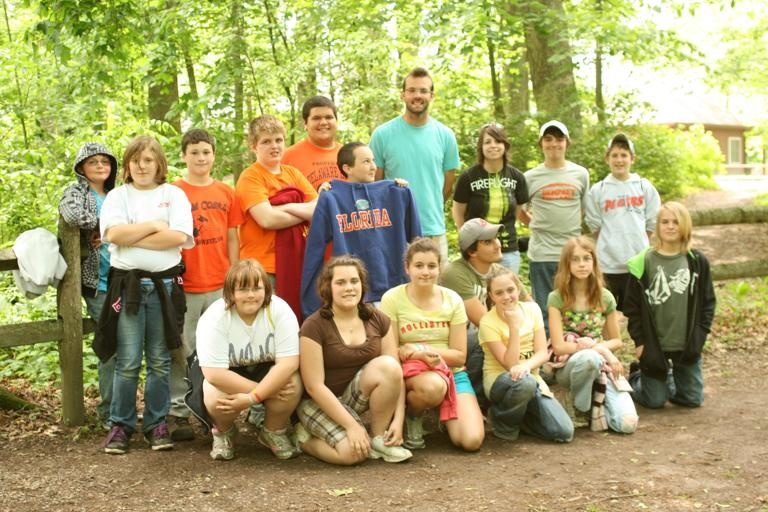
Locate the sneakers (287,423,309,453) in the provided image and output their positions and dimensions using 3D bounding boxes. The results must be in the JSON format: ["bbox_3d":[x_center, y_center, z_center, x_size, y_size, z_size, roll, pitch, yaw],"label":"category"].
[{"bbox_3d":[-0.730,1.586,6.201,0.200,0.230,0.104,2,-7,14],"label":"sneakers"}]

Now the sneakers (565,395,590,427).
[{"bbox_3d":[1.868,1.502,6.852,0.266,0.267,0.115,5,1,9],"label":"sneakers"}]

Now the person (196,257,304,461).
[{"bbox_3d":[-1.150,0.905,6.145,0.879,1.740,0.295,-5,3,-13],"label":"person"}]

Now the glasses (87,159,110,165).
[{"bbox_3d":[-2.632,-0.872,6.585,0.095,0.024,0.091,2,-11,-31],"label":"glasses"}]

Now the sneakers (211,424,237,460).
[{"bbox_3d":[-1.393,1.635,6.217,0.154,0.131,0.351,0,1,0],"label":"sneakers"}]

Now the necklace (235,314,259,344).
[{"bbox_3d":[-1.188,0.646,6.163,0.262,0.204,0.072,6,-7,-11],"label":"necklace"}]

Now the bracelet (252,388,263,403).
[{"bbox_3d":[-1.071,1.190,6.081,0.089,0.095,0.109,-11,-8,-14],"label":"bracelet"}]

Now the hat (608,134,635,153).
[{"bbox_3d":[2.714,-1.303,8.085,0.258,0.163,0.338,1,-27,15],"label":"hat"}]

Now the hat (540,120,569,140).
[{"bbox_3d":[1.909,-1.412,7.908,0.282,0.195,0.209,-3,3,7],"label":"hat"}]

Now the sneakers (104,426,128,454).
[{"bbox_3d":[-2.324,1.615,6.198,0.136,0.123,0.323,2,-1,-12],"label":"sneakers"}]

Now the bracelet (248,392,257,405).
[{"bbox_3d":[-1.101,1.207,6.027,0.102,0.086,0.096,3,-6,-2],"label":"bracelet"}]

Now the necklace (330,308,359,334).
[{"bbox_3d":[-0.320,0.582,6.299,0.214,0.241,0.081,-19,-2,-11],"label":"necklace"}]

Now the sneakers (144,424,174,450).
[{"bbox_3d":[-2.002,1.608,6.351,0.203,0.148,0.239,-5,3,-23],"label":"sneakers"}]

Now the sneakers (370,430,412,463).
[{"bbox_3d":[0.037,1.675,6.179,0.410,0.164,0.164,1,5,22],"label":"sneakers"}]

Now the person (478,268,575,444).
[{"bbox_3d":[1.301,0.896,6.634,0.774,1.623,0.490,-4,3,5],"label":"person"}]
